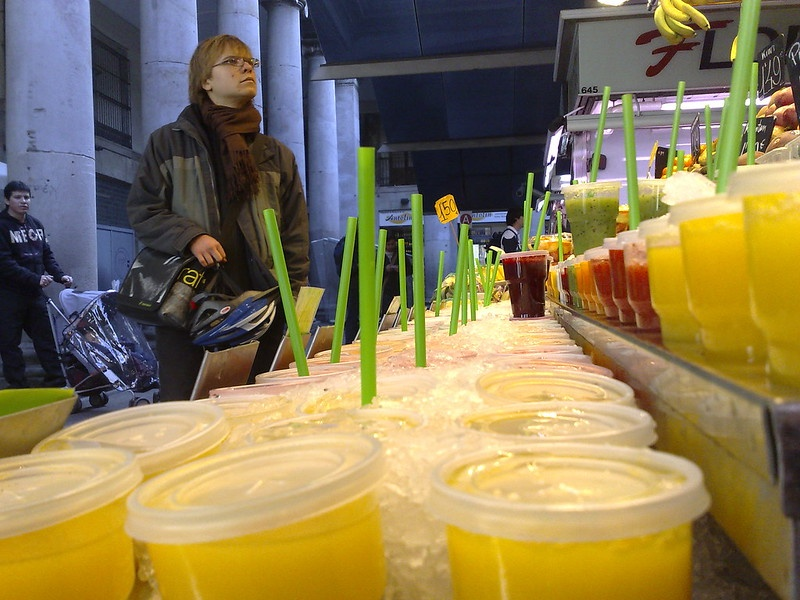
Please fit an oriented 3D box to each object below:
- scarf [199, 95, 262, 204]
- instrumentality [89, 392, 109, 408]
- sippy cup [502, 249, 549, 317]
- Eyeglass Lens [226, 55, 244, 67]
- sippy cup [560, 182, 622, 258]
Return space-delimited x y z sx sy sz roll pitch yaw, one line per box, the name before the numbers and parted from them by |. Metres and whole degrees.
scarf | -0.589 -0.546 1.982 0.179 0.383 0.117 -5 -22 -27
instrumentality | -2.243 0.747 4.212 0.096 0.101 0.116 -29 -15 21
sippy cup | 0.390 -0.046 1.763 0.188 0.209 0.184 -3 -5 0
Eyeglass Lens | -0.568 -0.818 1.932 0.042 0.017 0.049 -3 0 -22
sippy cup | 0.440 -0.194 1.347 0.162 0.176 0.164 -6 9 1
